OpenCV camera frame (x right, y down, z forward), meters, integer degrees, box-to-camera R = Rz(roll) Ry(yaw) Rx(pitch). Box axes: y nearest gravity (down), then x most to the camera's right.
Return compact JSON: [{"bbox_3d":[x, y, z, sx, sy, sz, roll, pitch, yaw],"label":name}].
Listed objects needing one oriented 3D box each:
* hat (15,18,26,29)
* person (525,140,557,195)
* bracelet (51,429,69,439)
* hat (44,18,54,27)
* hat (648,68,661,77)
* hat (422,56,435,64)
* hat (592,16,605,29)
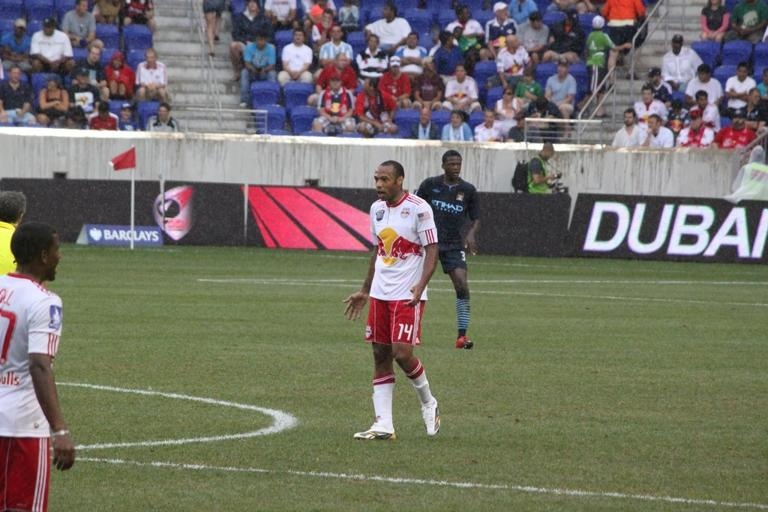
[{"bbox_3d":[-9.645,-6.188,51.427,0.245,0.317,0.319,4,22,-14],"label":"hat"},{"bbox_3d":[4.080,-2.270,50.073,0.747,1.284,1.227,3,7,10],"label":"person"},{"bbox_3d":[-5.570,3.077,33.345,0.281,0.147,0.137,0,7,-9],"label":"bracelet"},{"bbox_3d":[-8.816,-6.179,50.975,0.261,0.220,0.462,0,7,-14],"label":"hat"},{"bbox_3d":[7.265,-4.910,51.627,0.364,0.177,0.262,-3,6,-38],"label":"hat"},{"bbox_3d":[1.201,-5.300,52.230,0.247,0.136,0.185,0,-12,-2],"label":"hat"},{"bbox_3d":[5.813,-6.362,52.547,0.339,0.162,0.459,-1,3,0],"label":"hat"}]
